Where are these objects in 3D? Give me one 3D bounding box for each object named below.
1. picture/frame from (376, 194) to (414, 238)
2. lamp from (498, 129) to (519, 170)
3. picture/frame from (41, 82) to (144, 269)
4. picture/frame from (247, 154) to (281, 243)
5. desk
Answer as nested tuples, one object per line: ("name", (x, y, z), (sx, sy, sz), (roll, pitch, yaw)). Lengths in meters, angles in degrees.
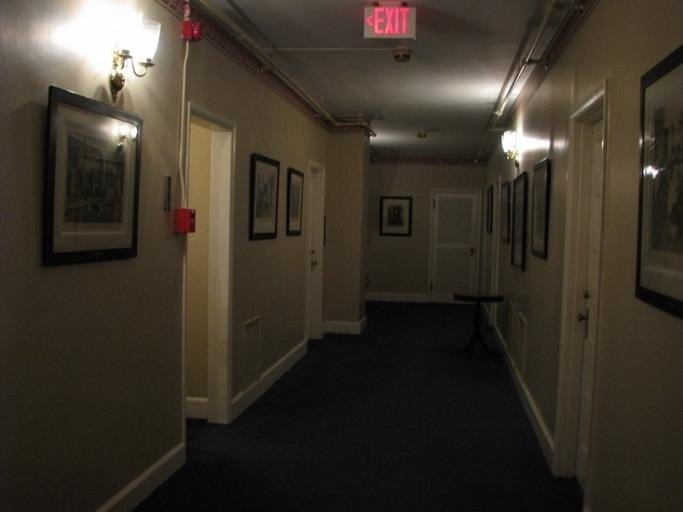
("picture/frame", (1.171, -0.886, 11.165), (0.777, 1.061, 0.075), (1, 0, 1))
("lamp", (2.006, -1.280, 6.215), (0.178, 0.575, 0.165), (4, -23, 9))
("picture/frame", (-1.348, -0.426, 2.876), (0.786, 0.882, 0.039), (8, 5, 28))
("picture/frame", (-0.767, -0.620, 5.284), (0.038, 0.791, 0.856), (3, 5, -24))
("desk", (2.066, 0.827, 7.754), (0.622, 0.891, 2.349), (2, 6, 17))
